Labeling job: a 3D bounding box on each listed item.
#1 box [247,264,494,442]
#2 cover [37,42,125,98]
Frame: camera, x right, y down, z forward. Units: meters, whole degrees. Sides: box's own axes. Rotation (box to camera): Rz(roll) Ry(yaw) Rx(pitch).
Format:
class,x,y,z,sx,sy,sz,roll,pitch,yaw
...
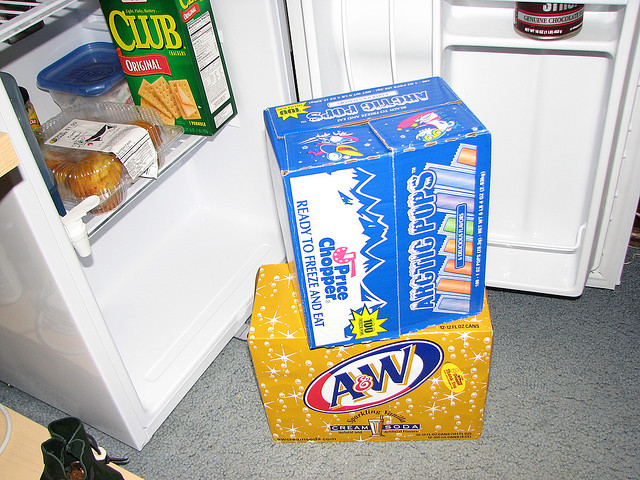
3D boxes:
class,x,y,z,sx,sy,sz,roll,pitch,yaw
box,0.142,0.344,1.355,0.600,0.523,0.407,3,35,9
cover,-0.757,-0.530,1.534,0.155,0.142,0.219,13,34,25
